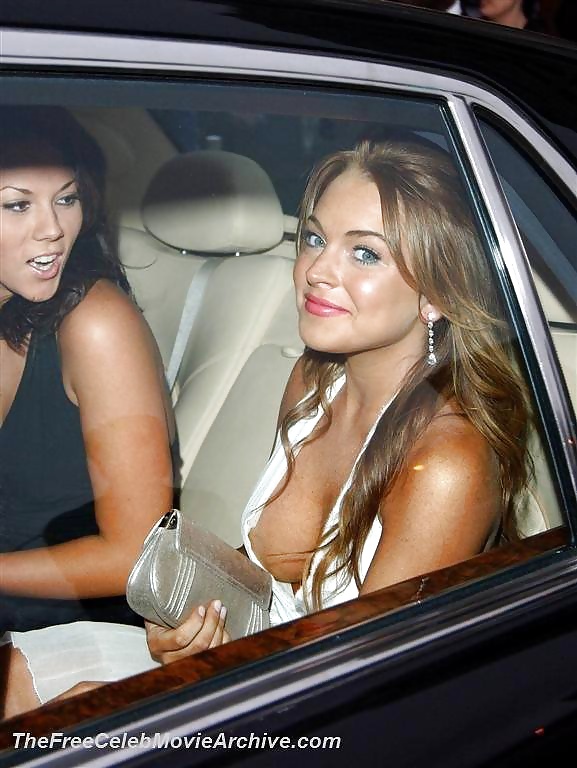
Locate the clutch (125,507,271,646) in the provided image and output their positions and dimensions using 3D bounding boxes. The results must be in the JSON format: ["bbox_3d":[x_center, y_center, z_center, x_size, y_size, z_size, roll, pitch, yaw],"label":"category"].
[{"bbox_3d":[-0.131,0.268,0.917,0.243,0.065,0.214,-4,26,-7],"label":"clutch"}]
